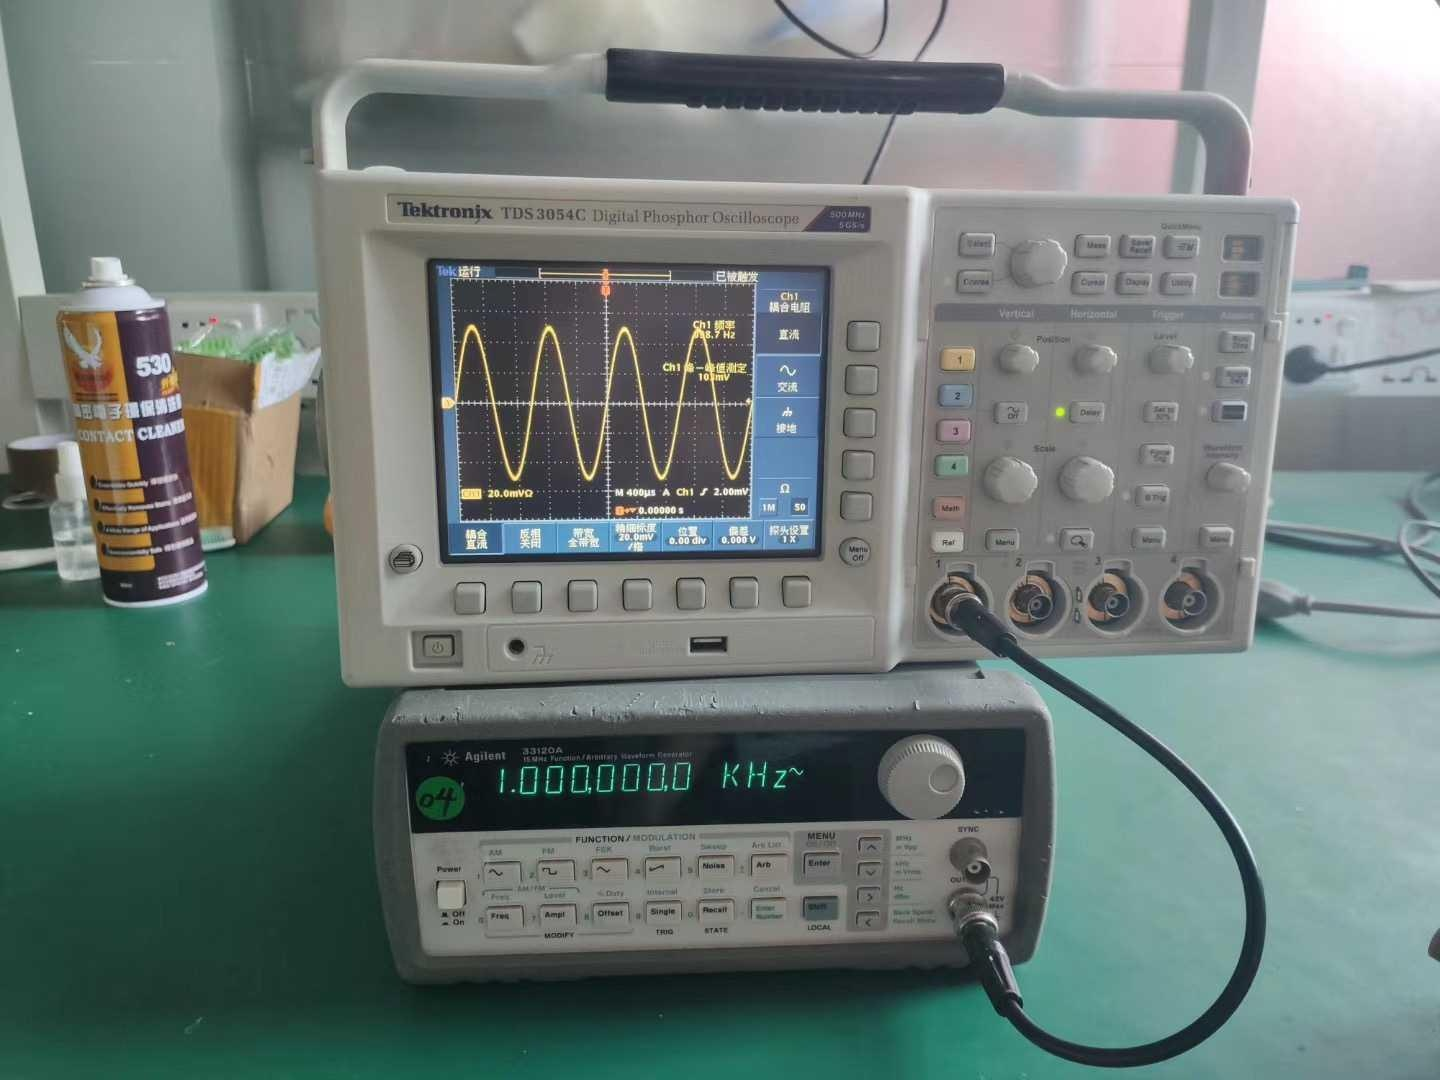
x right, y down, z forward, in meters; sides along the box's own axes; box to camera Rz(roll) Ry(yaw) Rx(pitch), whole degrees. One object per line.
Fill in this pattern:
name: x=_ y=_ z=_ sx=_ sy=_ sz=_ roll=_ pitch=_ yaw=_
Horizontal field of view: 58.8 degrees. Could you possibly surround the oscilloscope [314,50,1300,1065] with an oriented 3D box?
oscilloscope: x=0.086 y=-0.039 z=1.397 sx=0.953 sy=0.984 sz=0.715 roll=1 pitch=20 yaw=0
